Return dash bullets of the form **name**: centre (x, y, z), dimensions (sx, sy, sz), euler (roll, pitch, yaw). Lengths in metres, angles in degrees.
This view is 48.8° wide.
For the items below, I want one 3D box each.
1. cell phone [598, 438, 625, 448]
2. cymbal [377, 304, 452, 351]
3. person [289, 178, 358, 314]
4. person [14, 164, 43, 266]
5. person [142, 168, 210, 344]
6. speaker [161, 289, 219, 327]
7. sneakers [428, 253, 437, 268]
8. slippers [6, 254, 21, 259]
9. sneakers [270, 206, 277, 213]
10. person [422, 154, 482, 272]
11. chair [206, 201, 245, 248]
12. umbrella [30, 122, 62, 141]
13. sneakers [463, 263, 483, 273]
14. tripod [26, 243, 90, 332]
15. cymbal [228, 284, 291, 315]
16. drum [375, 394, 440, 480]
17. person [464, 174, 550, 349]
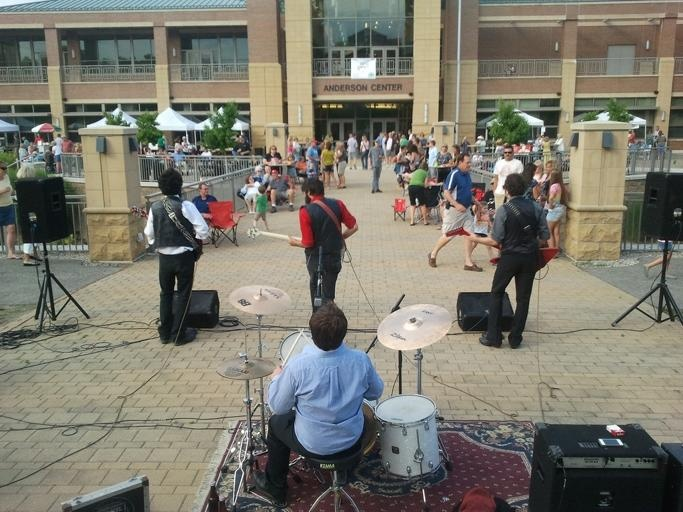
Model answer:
- **cell phone**: centre (2.627, 1.816, 7.348), dimensions (0.123, 0.032, 0.091), euler (1, 23, 2)
- **cymbal**: centre (0.792, 0.725, 8.531), dimensions (0.881, 0.210, 0.930), euler (-8, 26, 25)
- **person**: centre (-0.283, -0.195, 11.306), dimensions (0.610, 1.961, 0.901), euler (6, 14, 31)
- **person**: centre (-5.583, -0.676, 13.455), dimensions (0.574, 2.223, 0.558), euler (-3, 19, -25)
- **person**: centre (-2.471, 0.003, 11.325), dimensions (0.839, 2.620, 0.564), euler (-6, 13, -19)
- **speaker**: centre (-2.209, 0.841, 11.850), dimensions (0.587, 0.439, 0.558), euler (4, 21, 9)
- **sneakers**: centre (1.831, 0.079, 15.236), dimensions (0.193, 0.184, 0.552), euler (-1, 9, 1)
- **slippers**: centre (-6.936, 0.010, 15.932), dimensions (0.276, 0.128, 0.108), euler (-2, 22, -11)
- **sneakers**: centre (-2.012, -1.395, 22.267), dimensions (0.156, 0.186, 0.441), euler (-1, 8, -5)
- **person**: centre (2.220, -0.877, 14.824), dimensions (1.172, 2.285, 1.046), euler (3, 9, 25)
- **chair**: centre (-2.759, -0.781, 17.572), dimensions (0.685, 1.112, 0.689), euler (1, 17, -6)
- **umbrella**: centre (-16.251, -6.982, 41.607), dimensions (2.202, 0.956, 2.315), euler (-1, 16, -8)
- **sneakers**: centre (2.568, 0.218, 14.778), dimensions (0.364, 0.168, 0.143), euler (1, 12, 7)
- **tripod**: centre (-4.718, 0.369, 12.394), dimensions (0.779, 1.427, 0.821), euler (-7, -7, -30)
- **cymbal**: centre (-0.965, 0.494, 9.204), dimensions (0.693, 0.360, 0.760), euler (1, 9, 0)
- **drum**: centre (0.768, 1.963, 8.516), dimensions (0.740, 0.717, 0.776), euler (5, 18, 28)
- **person**: centre (2.498, 0.085, 10.984), dimensions (0.935, 2.541, 0.417), euler (1, 13, 12)
